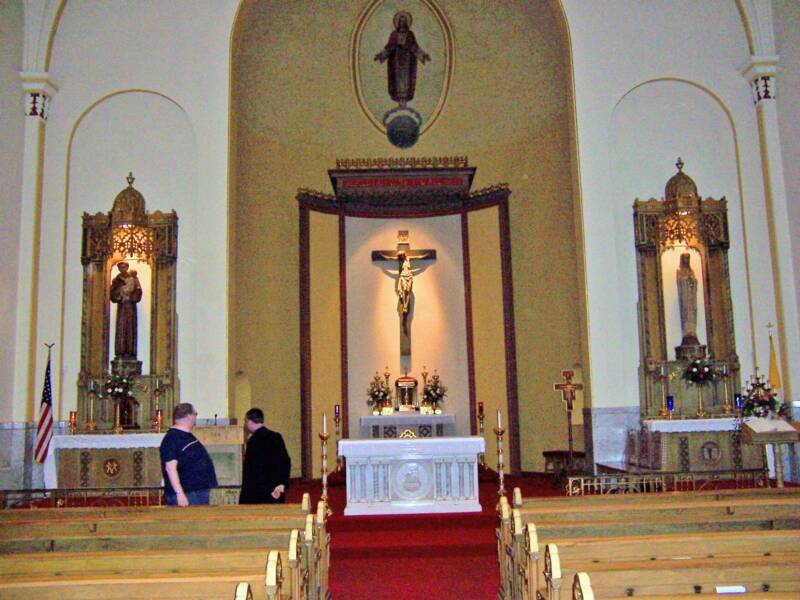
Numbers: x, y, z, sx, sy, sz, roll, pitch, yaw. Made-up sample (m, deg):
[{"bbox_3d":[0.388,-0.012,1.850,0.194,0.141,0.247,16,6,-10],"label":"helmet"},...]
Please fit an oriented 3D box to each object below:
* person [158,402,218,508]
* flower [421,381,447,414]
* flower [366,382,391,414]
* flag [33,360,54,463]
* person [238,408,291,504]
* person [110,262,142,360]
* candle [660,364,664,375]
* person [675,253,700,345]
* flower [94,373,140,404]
[{"bbox_3d":[-2.648,1.903,14.007,0.611,1.255,0.709,-1,-9,-3],"label":"person"},{"bbox_3d":[0.603,1.718,19.971,0.403,0.593,0.614,-2,-9,3],"label":"flower"},{"bbox_3d":[-0.387,1.733,19.816,0.433,0.465,0.447,-5,-7,19],"label":"flower"},{"bbox_3d":[-5.692,1.738,18.077,0.269,1.720,0.636,1,-9,-17],"label":"flag"},{"bbox_3d":[-1.761,2.021,14.745,0.635,1.218,0.404,0,-9,-8],"label":"person"},{"bbox_3d":[-4.588,0.184,18.946,0.522,1.653,0.210,1,-9,-17],"label":"person"},{"bbox_3d":[4.398,1.162,18.893,0.074,0.176,0.059,-3,-9,10],"label":"candle"},{"bbox_3d":[4.900,-0.016,19.213,0.347,1.565,0.187,-4,-9,16],"label":"person"},{"bbox_3d":[-4.657,1.470,18.882,0.423,0.256,0.573,1,-24,5],"label":"flower"}]
